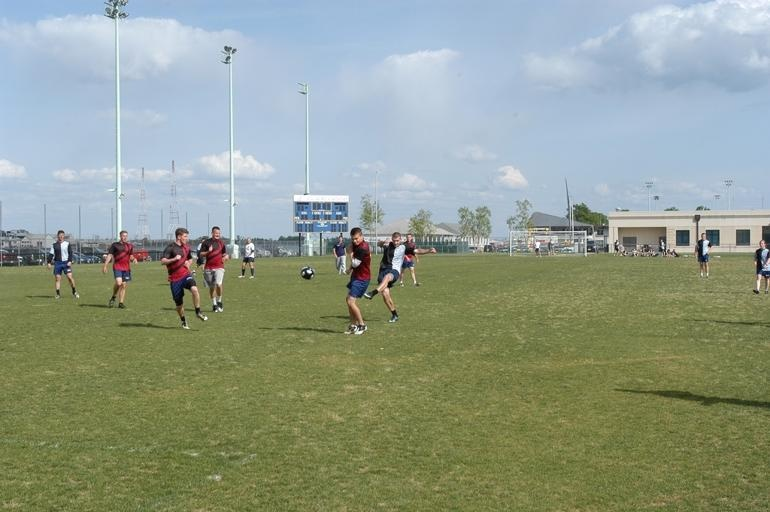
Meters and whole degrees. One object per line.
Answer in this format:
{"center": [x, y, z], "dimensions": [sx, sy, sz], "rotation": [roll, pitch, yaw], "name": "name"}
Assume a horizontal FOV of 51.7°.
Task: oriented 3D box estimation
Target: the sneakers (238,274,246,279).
{"center": [-7.051, 1.015, 38.564], "dimensions": [0.164, 0.215, 0.490], "rotation": [-4, -5, 42], "name": "sneakers"}

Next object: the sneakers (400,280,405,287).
{"center": [0.690, 1.151, 32.604], "dimensions": [0.134, 0.181, 0.419], "rotation": [-1, -7, -3], "name": "sneakers"}

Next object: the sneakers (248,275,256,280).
{"center": [-6.449, 1.018, 38.116], "dimensions": [0.380, 0.265, 0.140], "rotation": [5, 3, 42], "name": "sneakers"}

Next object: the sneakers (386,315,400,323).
{"center": [0.194, 1.638, 20.610], "dimensions": [0.132, 0.152, 0.305], "rotation": [3, -5, -40], "name": "sneakers"}

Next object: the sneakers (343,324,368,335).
{"center": [-0.661, 1.743, 18.777], "dimensions": [0.441, 0.178, 0.228], "rotation": [1, -7, -21], "name": "sneakers"}

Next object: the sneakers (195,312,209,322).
{"center": [-4.836, 1.568, 20.550], "dimensions": [0.176, 0.225, 0.485], "rotation": [-18, 11, -41], "name": "sneakers"}

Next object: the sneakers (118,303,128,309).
{"center": [-7.924, 1.501, 23.700], "dimensions": [0.314, 0.196, 0.111], "rotation": [0, 2, -29], "name": "sneakers"}

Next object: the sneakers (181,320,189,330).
{"center": [-4.970, 1.689, 19.524], "dimensions": [0.127, 0.169, 0.374], "rotation": [-16, 0, -17], "name": "sneakers"}

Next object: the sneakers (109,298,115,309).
{"center": [-8.290, 1.430, 23.964], "dimensions": [0.162, 0.232, 0.484], "rotation": [8, -12, -23], "name": "sneakers"}

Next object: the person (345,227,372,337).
{"center": [-0.673, 0.589, 19.038], "dimensions": [0.565, 2.637, 1.366], "rotation": [-1, 13, -3], "name": "person"}

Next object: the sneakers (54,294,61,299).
{"center": [-11.147, 1.375, 26.729], "dimensions": [0.142, 0.184, 0.267], "rotation": [2, -13, -14], "name": "sneakers"}
